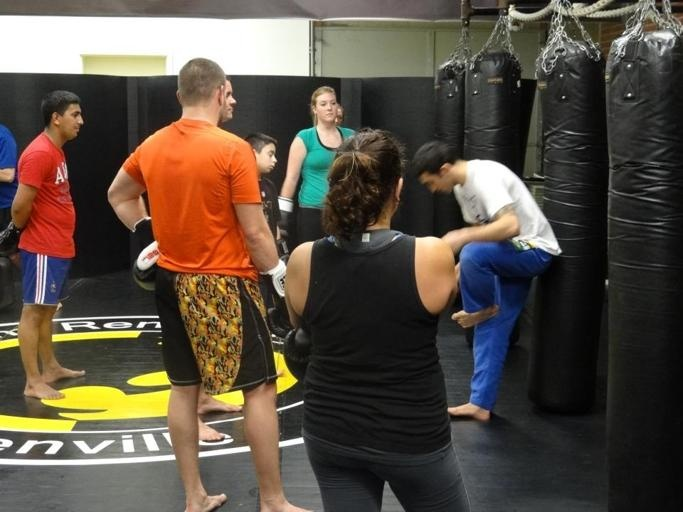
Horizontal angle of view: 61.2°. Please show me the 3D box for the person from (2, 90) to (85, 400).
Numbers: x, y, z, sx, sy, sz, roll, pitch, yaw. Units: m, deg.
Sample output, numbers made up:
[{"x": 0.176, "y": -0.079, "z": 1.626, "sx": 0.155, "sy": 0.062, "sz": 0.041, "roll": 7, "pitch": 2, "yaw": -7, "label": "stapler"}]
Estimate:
[{"x": -1.907, "y": -0.078, "z": 3.803, "sx": 0.484, "sy": 1.981, "sz": 0.455, "roll": -4, "pitch": 11, "yaw": -24, "label": "person"}]
